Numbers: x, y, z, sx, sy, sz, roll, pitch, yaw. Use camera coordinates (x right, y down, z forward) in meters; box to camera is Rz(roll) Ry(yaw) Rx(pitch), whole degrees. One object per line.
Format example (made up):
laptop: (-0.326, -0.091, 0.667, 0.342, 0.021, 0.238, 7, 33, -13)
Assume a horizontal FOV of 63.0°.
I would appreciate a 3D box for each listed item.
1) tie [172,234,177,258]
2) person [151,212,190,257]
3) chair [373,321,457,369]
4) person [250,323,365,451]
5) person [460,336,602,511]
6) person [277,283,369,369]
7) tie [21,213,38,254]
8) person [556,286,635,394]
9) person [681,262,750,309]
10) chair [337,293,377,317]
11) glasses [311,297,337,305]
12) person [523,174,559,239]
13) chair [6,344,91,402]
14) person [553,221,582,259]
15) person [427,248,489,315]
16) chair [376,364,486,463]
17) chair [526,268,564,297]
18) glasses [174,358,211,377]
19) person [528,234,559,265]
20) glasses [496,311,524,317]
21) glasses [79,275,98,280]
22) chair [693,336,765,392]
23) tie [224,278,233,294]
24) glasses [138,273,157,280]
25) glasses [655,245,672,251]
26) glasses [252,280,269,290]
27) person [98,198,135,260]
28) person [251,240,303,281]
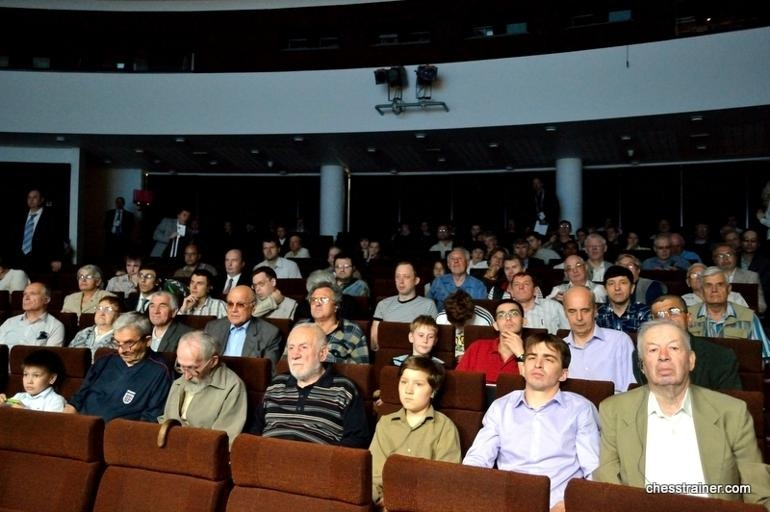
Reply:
tie: (-3.252, -0.147, 9.705, 0.095, 0.327, 0.217, 2, 0, -17)
person: (-3.382, -0.318, 9.950, 0.537, 0.755, 1.281, 2, 0, -19)
chair: (0.214, 0.748, 5.069, 0.490, 0.459, 0.413, -2, -10, 18)
person: (-0.538, 0.895, 4.230, 0.968, 0.805, 0.543, 0, -1, 31)
person: (0.819, 1.055, 4.280, 1.006, 1.240, 0.931, -2, -11, 28)
person: (-0.473, 0.599, 5.157, 0.729, 0.773, 0.396, -1, -7, 5)
tie: (-5.278, -0.329, 9.318, 0.200, 0.637, 0.180, 2, 0, -15)
person: (1.522, 0.623, 4.505, 0.649, 0.861, 0.298, -8, -3, 31)
person: (2.915, 0.280, 5.535, 0.338, 0.707, 0.248, -5, -15, 9)
chair: (-0.313, 0.542, 6.453, 0.290, 0.224, 0.278, 2, 5, 8)
glasses: (-0.475, 0.363, 5.013, 0.201, 0.061, 0.054, 2, 0, -22)
person: (2.588, -0.617, 10.464, 0.576, 1.256, 0.371, -6, -5, 25)
chair: (-2.572, 0.853, 4.906, 0.557, 0.460, 0.440, 0, 0, 0)
person: (2.613, -0.192, 9.242, 0.316, 0.728, 0.272, -3, 9, -15)
person: (0.773, 0.280, 6.540, 0.681, 0.857, 0.252, 0, -4, 21)
chair: (0.276, 1.013, 4.150, 0.560, 0.708, 0.606, -2, -9, 21)
chair: (1.717, 0.298, 6.723, 0.305, 0.161, 0.296, 2, 37, -2)
glasses: (-1.270, 0.758, 4.249, 0.245, 0.164, 0.098, 2, 0, -13)
person: (2.218, -0.065, 8.797, 0.290, 0.253, 0.721, -15, -29, 42)
glasses: (0.934, 0.441, 4.721, 0.183, 0.064, 0.077, 2, 0, 1)
glasses: (-3.007, 0.222, 6.383, 0.160, 0.040, 0.040, 2, 0, -22)
chair: (2.463, 0.745, 4.604, 0.489, 0.532, 0.383, -2, -10, 18)
tie: (-1.735, 0.335, 6.979, 0.164, 0.161, 0.056, -5, -21, 42)
glasses: (-2.270, 0.187, 6.022, 0.151, 0.081, 0.090, 2, 0, -23)
glasses: (3.254, -0.090, 7.361, 0.156, 0.060, 0.103, 2, 0, 21)
glasses: (-1.164, 0.275, 5.936, 0.094, 0.067, 0.120, -5, -3, 25)
person: (-4.601, -0.516, 10.893, 0.442, 1.068, 0.613, 2, 0, -24)
person: (-1.370, 0.134, 7.791, 0.728, 0.656, 0.392, -3, -3, 10)
